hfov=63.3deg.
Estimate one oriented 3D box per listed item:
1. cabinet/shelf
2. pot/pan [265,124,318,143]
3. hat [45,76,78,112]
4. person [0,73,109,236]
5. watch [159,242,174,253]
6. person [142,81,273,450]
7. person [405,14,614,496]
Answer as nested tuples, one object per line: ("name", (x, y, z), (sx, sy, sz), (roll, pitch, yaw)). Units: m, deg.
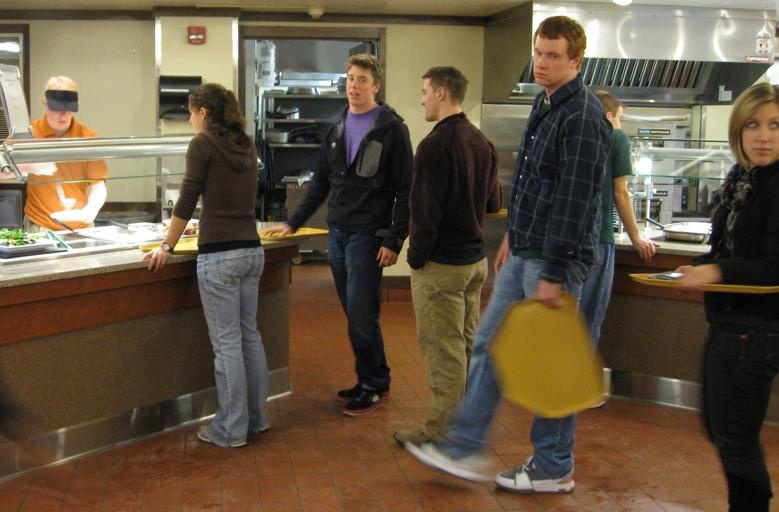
("cabinet/shelf", (-1.286, -2.302, 10.046), (1.130, 0.364, 0.629), (-7, 14, 21))
("pot/pan", (-1.409, -1.801, 9.398), (0.453, 0.167, 0.510), (3, 6, 40))
("hat", (-2.235, -1.104, 4.344), (0.231, 0.173, 0.345), (-2, 22, -36))
("person", (-2.232, -0.659, 4.315), (0.533, 1.104, 1.324), (-7, 16, -28))
("watch", (-1.387, -0.055, 3.968), (0.071, 0.065, 0.065), (7, -22, -2))
("person", (-1.122, 0.063, 4.004), (0.665, 2.247, 0.610), (-2, 15, -12))
("person", (0.720, 0.030, 3.346), (0.571, 2.493, 0.759), (14, 19, 41))
